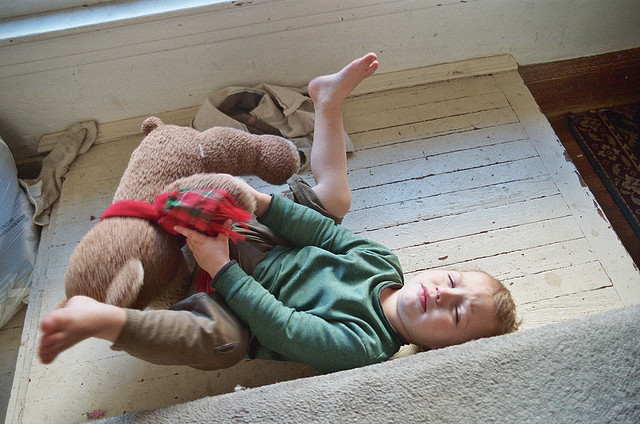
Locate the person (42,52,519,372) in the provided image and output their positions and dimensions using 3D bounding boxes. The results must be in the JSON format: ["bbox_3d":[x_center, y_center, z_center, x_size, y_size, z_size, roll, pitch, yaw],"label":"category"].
[{"bbox_3d":[-0.040,0.113,1.738,1.316,0.500,0.870,1,34,10],"label":"person"}]

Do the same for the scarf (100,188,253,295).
[{"bbox_3d":[-0.415,0.040,1.516,0.459,0.191,0.285,-26,9,-42],"label":"scarf"}]

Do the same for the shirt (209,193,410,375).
[{"bbox_3d":[-0.046,0.316,1.688,0.210,0.604,0.579,-59,2,43],"label":"shirt"}]

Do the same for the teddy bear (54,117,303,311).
[{"bbox_3d":[-0.459,-0.026,1.708,0.629,0.521,0.294,-53,13,-12],"label":"teddy bear"}]
